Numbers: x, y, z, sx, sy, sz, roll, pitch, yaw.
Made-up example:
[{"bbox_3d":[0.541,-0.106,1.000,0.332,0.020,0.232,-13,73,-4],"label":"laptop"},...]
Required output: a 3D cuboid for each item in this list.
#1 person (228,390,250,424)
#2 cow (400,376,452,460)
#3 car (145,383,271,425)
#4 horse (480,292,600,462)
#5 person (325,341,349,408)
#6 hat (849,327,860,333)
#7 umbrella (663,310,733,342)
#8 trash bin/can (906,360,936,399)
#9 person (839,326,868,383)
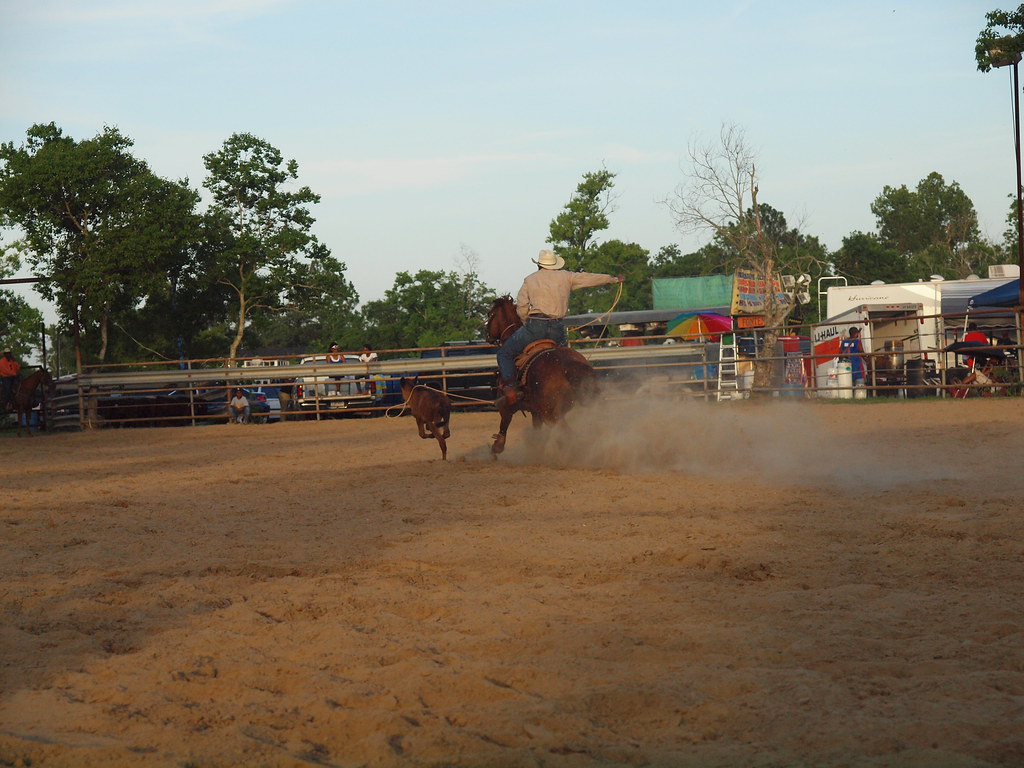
[{"bbox_3d":[-5.879,0.486,25.548,0.455,0.667,0.844,-2,0,-13],"label":"person"},{"bbox_3d":[-1.120,0.427,15.485,0.600,0.977,2.280,-2,-1,-5],"label":"cow"},{"bbox_3d":[-6.559,0.461,25.941,2.048,0.595,1.203,-1,-1,4],"label":"car"},{"bbox_3d":[0.265,0.145,14.294,0.654,1.772,2.696,2,11,-30],"label":"horse"},{"bbox_3d":[-3.862,-0.204,26.061,0.449,1.296,2.119,-3,-1,-8],"label":"person"},{"bbox_3d":[6.742,-1.065,23.443,0.176,0.123,0.137,-1,5,5],"label":"hat"},{"bbox_3d":[4.629,-1.476,29.028,1.549,0.493,1.531,-7,7,-2],"label":"umbrella"},{"bbox_3d":[7.900,-0.133,23.060,0.540,0.745,2.518,-3,-1,20],"label":"trash bin/can"},{"bbox_3d":[6.706,-0.556,23.391,0.440,1.172,1.031,-3,0,15],"label":"person"}]
